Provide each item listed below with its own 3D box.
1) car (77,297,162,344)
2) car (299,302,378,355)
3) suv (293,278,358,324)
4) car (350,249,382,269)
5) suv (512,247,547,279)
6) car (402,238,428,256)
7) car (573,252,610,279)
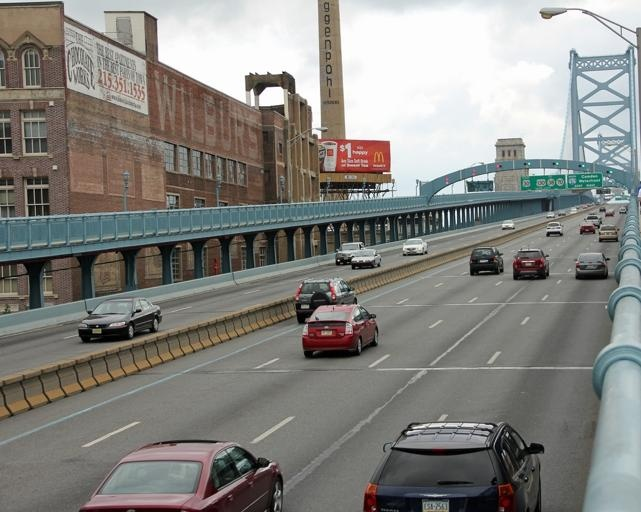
[{"bbox_3d":[-8.410,2.595,29.785,2.040,1.629,2.939,-2,3,19],"label":"car"},{"bbox_3d":[0.749,2.535,24.328,2.766,1.677,1.564,-5,4,-43],"label":"car"},{"bbox_3d":[0.159,1.948,33.222,1.559,1.544,3.012,0,8,18],"label":"suv"},{"bbox_3d":[3.773,0.301,60.411,1.419,1.214,3.295,-3,-3,9],"label":"car"},{"bbox_3d":[13.551,0.559,46.100,2.572,1.917,1.705,-4,3,-34],"label":"suv"},{"bbox_3d":[9.710,-0.882,73.771,2.249,1.509,3.294,-2,3,13],"label":"car"},{"bbox_3d":[16.853,0.682,44.307,2.216,1.572,1.432,-4,3,-34],"label":"car"}]
